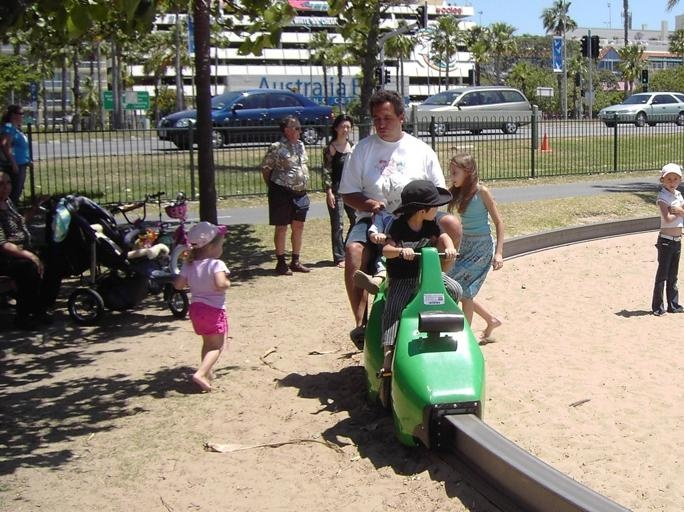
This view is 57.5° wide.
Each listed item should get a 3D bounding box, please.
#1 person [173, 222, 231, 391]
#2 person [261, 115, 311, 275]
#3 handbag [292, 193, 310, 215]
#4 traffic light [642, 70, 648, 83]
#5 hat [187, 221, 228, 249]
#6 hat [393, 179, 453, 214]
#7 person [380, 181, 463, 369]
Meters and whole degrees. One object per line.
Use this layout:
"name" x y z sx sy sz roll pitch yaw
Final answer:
"person" -1.234 0.440 5.539 0.456 1.453 0.472 -4 13 -16
"person" -0.833 -0.891 9.283 0.669 2.294 0.577 -2 12 -6
"handbag" -0.644 -0.777 9.270 0.261 0.260 0.093 -3 2 -32
"traffic light" 23.263 -13.880 48.029 0.297 1.051 1.207 7 14 30
"hat" -1.221 -0.199 5.592 0.309 0.227 0.342 -3 13 -14
"hat" 0.613 -0.468 4.828 0.343 0.138 0.283 -15 15 15
"person" 0.613 0.149 4.839 0.601 1.441 0.902 0 12 4
